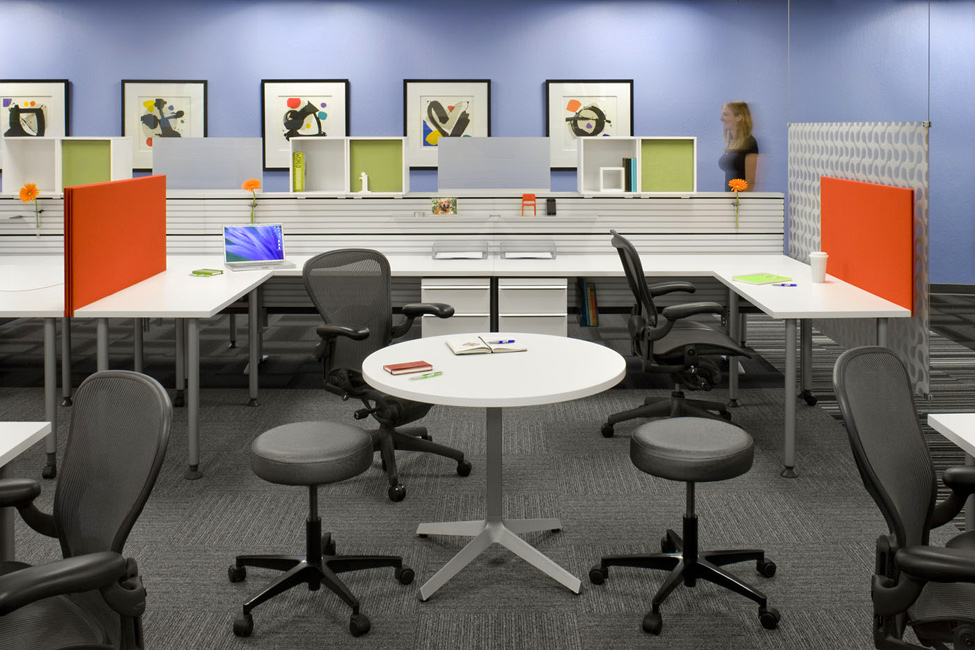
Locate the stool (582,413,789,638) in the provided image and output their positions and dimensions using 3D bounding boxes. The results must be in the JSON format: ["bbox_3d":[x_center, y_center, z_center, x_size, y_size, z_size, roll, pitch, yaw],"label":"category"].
[{"bbox_3d":[0.837,0.810,3.327,0.771,0.696,0.802,2,7,26],"label":"stool"}]

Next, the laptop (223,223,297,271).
[{"bbox_3d":[-1.648,-0.551,5.654,0.467,0.272,0.347,-4,17,-24],"label":"laptop"}]

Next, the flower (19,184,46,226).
[{"bbox_3d":[-3.560,-0.923,6.124,0.146,0.342,0.378,-9,17,-29],"label":"flower"}]

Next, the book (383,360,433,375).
[{"bbox_3d":[-0.350,0.191,3.485,0.208,0.034,0.153,-6,15,-20],"label":"book"}]

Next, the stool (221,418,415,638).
[{"bbox_3d":[-0.716,0.830,3.328,0.807,0.700,0.792,-5,9,-39],"label":"stool"}]

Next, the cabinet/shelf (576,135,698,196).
[{"bbox_3d":[1.292,-1.357,6.728,0.981,0.456,0.334,2,10,10],"label":"cabinet/shelf"}]

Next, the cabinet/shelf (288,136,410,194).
[{"bbox_3d":[-1.184,-1.357,6.737,0.986,0.453,0.324,-1,10,-4],"label":"cabinet/shelf"}]

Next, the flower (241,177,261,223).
[{"bbox_3d":[-1.904,-0.993,6.350,0.138,0.336,0.135,-6,16,-18],"label":"flower"}]

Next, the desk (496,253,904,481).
[{"bbox_3d":[1.522,0.417,5.129,1.765,0.675,1.736,0,11,0],"label":"desk"}]

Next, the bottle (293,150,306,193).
[{"bbox_3d":[-1.631,-1.316,6.764,0.117,0.323,0.067,-11,18,-34],"label":"bottle"}]

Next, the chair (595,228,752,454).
[{"bbox_3d":[1.262,0.108,4.996,0.960,1.156,0.937,4,4,23],"label":"chair"}]

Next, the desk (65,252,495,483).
[{"bbox_3d":[-1.553,0.422,4.930,1.760,0.788,1.697,3,5,-6],"label":"desk"}]

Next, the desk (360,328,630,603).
[{"bbox_3d":[0.019,0.637,3.675,1.247,0.925,1.269,6,11,41],"label":"desk"}]

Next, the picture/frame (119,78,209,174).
[{"bbox_3d":[-3.957,-2.439,9.588,1.059,1.064,0.293,0,15,3],"label":"picture/frame"}]

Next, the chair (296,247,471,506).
[{"bbox_3d":[-0.587,0.239,4.414,0.903,1.187,0.904,-2,10,-19],"label":"chair"}]
